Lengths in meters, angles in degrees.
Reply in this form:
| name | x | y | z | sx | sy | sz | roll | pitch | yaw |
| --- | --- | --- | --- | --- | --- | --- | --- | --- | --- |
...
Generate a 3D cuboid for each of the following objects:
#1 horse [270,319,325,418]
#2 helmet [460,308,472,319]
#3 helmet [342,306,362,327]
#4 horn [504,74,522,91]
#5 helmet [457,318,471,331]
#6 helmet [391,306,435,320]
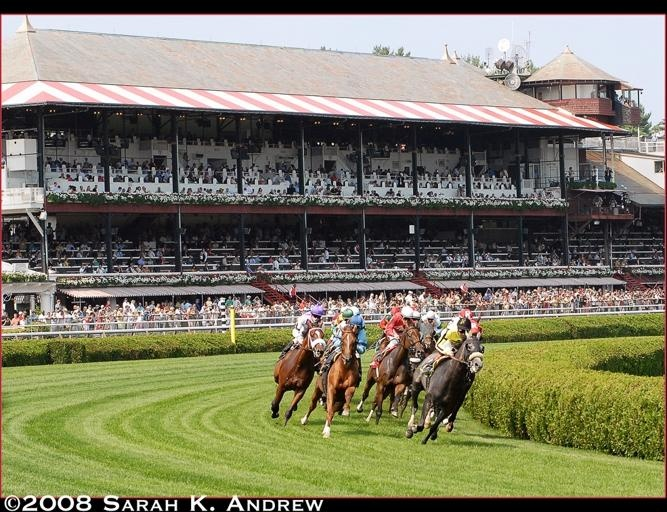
| name | x | y | z | sx | sy | sz | roll | pitch | yaw |
| --- | --- | --- | --- | --- | --- | --- | --- | --- | --- |
| horse | -0.723 | 2.635 | 27.638 | 0.580 | 2.161 | 2.014 | -1 | -2 | -30 |
| helmet | 2.950 | 1.262 | 27.491 | 0.199 | 0.274 | 0.237 | 19 | -31 | -30 |
| helmet | 0.399 | 1.353 | 27.945 | 0.296 | 0.381 | 0.507 | 1 | -25 | 19 |
| horn | 10.806 | -10.359 | 74.734 | 0.916 | 1.064 | 1.257 | -2 | -1 | 4 |
| helmet | 2.778 | 1.444 | 26.319 | 0.212 | 0.223 | 0.234 | 11 | 28 | 17 |
| helmet | 1.808 | 1.323 | 28.636 | 0.473 | 0.221 | 0.631 | 6 | -6 | -11 |
